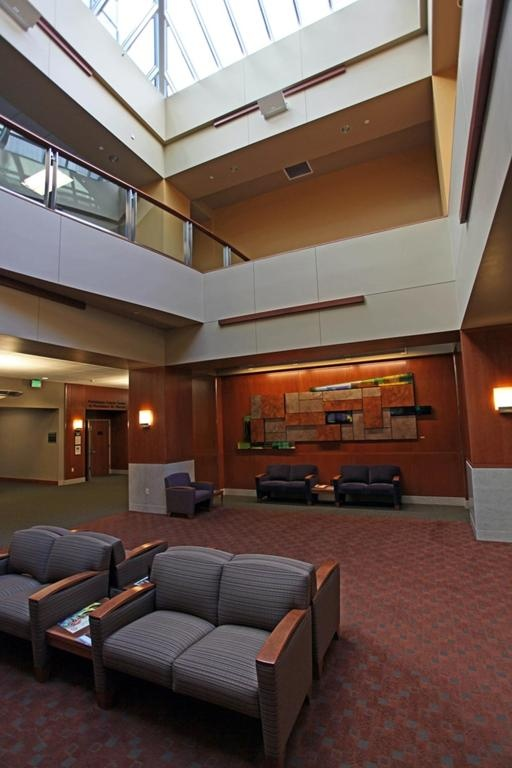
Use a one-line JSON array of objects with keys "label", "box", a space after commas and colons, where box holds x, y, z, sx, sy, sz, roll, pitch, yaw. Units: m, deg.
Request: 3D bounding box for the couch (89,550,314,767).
[{"label": "couch", "box": [-0.260, 1.169, 2.848, 1.143, 0.977, 0.829, -2, -5, 26]}]

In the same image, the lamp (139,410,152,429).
[{"label": "lamp", "box": [-2.162, 0.683, 9.230, 0.293, 0.410, 0.200, -2, -5, 19]}]

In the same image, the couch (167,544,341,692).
[{"label": "couch", "box": [0.175, 1.363, 3.185, 0.668, 0.829, 0.788, 0, -2, 16]}]

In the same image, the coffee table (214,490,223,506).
[{"label": "coffee table", "box": [-0.767, 2.331, 9.594, 0.228, 0.194, 0.347, -1, 0, 23]}]

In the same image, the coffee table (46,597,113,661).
[{"label": "coffee table", "box": [-1.173, 1.657, 3.209, 0.511, 0.141, 0.494, -1, 0, 35]}]

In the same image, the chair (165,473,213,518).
[{"label": "chair", "box": [-1.274, 2.054, 8.788, 0.628, 0.853, 0.882, -2, -3, 23]}]

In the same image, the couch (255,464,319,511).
[{"label": "couch", "box": [0.631, 2.049, 9.661, 1.268, 0.785, 0.875, -7, -6, 21]}]
